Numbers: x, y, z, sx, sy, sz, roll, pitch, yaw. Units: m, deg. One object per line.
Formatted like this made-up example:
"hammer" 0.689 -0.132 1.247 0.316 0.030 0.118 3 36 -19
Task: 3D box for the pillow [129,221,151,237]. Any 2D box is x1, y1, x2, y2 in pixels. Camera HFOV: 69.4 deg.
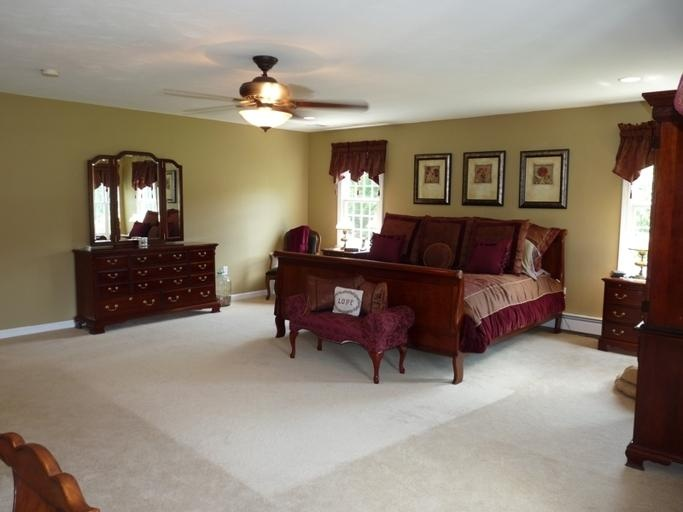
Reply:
"pillow" -2.747 -0.354 6.723 0.055 0.191 0.186 10 -3 40

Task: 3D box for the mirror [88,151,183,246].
"mirror" -2.831 -0.769 6.635 1.242 1.255 0.079 -5 7 -44

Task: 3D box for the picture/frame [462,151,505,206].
"picture/frame" 1.993 -1.072 6.810 0.699 0.915 0.094 4 5 43

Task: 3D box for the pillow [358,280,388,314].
"pillow" 0.319 0.428 4.899 0.273 0.290 0.122 -3 -15 38

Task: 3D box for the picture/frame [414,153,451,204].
"picture/frame" 1.368 -1.140 7.258 0.697 0.931 0.094 3 0 40

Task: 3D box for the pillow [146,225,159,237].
"pillow" -2.618 -0.325 6.864 0.137 0.150 0.063 11 -14 -9

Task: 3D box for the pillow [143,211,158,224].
"pillow" -2.638 -0.517 6.824 0.046 0.159 0.165 6 -8 29

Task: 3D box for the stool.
"stool" 0.072 0.816 4.992 1.181 0.663 0.522 7 13 33

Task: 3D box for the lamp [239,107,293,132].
"lamp" -0.670 -1.242 4.496 0.428 0.186 0.340 4 11 18

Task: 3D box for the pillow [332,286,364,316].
"pillow" 0.067 0.471 5.010 0.292 0.277 0.089 13 0 38
